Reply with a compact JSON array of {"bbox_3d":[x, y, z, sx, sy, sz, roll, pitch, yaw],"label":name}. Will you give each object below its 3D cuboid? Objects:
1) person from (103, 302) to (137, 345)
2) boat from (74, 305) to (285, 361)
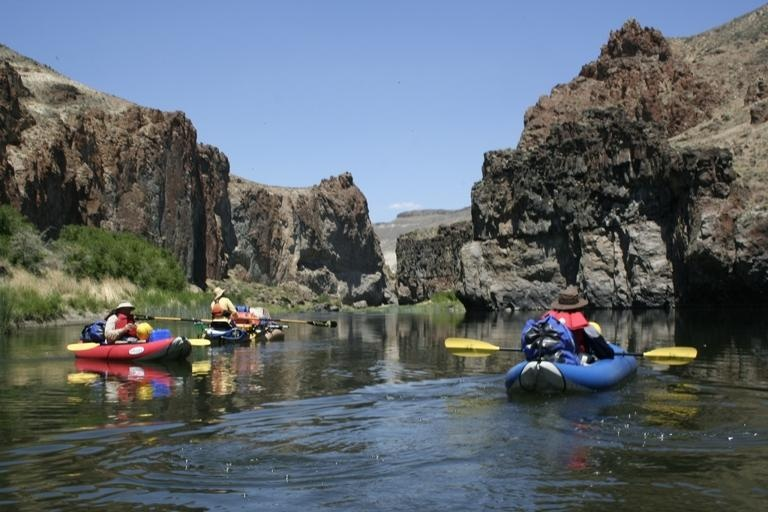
[{"bbox_3d":[-11.552,2.930,40.908,1.338,1.861,0.862,0,-9,-16],"label":"person"},{"bbox_3d":[-11.082,3.767,41.355,4.458,1.140,4.576,-5,-5,38],"label":"boat"}]
